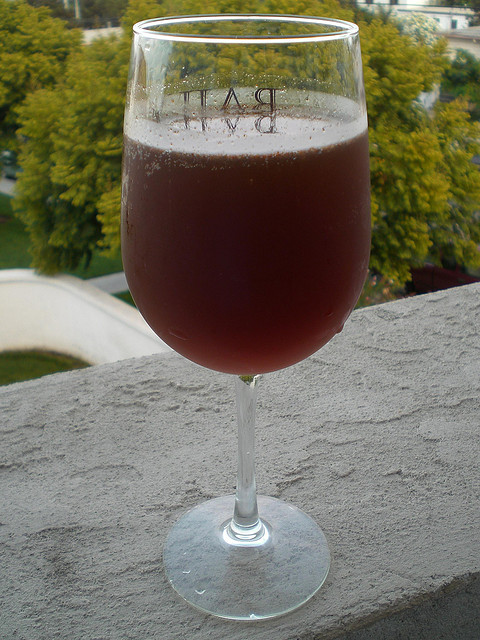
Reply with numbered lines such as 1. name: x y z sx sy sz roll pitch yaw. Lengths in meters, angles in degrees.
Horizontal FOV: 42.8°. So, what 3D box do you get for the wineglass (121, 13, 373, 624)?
1. wineglass: 0.005 0.003 0.356 0.120 0.291 0.121 4 14 15
